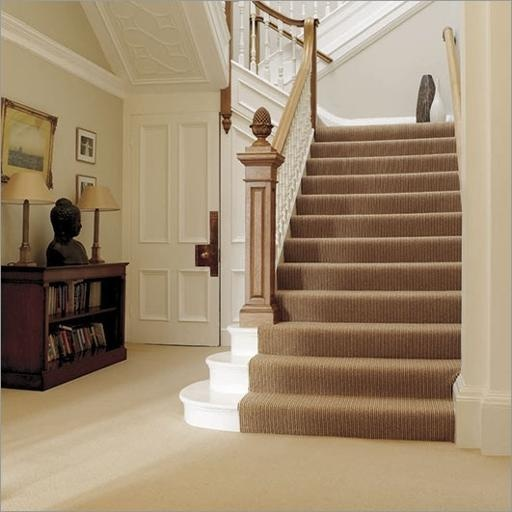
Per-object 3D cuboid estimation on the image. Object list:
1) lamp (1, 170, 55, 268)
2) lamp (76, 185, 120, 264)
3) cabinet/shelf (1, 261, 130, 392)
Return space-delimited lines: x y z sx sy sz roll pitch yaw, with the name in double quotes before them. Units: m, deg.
"lamp" -1.721 -0.302 3.750 0.355 0.770 0.486 -1 0 -26
"lamp" -1.440 -0.277 4.503 0.284 0.695 0.332 -1 -5 18
"cabinet/shelf" -1.522 0.502 4.047 0.418 1.015 1.200 -1 1 17
